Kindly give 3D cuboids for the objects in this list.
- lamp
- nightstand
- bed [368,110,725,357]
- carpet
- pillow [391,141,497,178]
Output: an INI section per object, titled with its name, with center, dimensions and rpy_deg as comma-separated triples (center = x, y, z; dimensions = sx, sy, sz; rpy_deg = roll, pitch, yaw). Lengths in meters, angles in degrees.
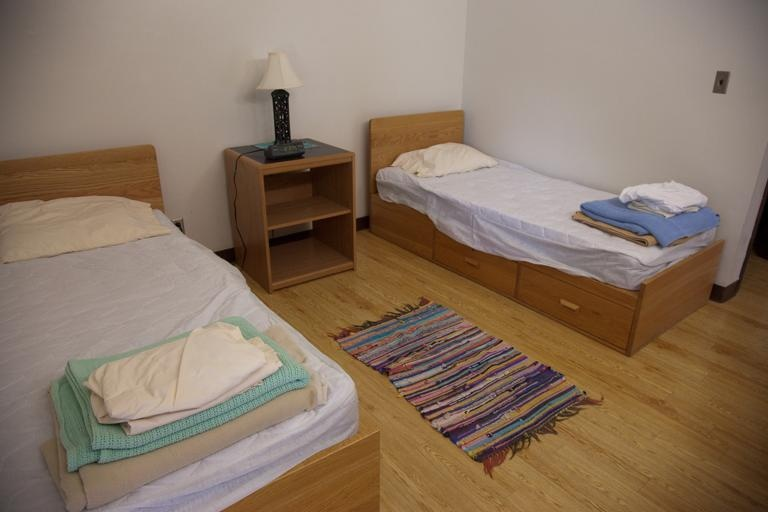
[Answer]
[lamp]
center = -0.752, -1.144, 3.687
dimensions = 0.291, 0.590, 0.411
rpy_deg = -10, 27, -11
[nightstand]
center = -0.700, -0.327, 3.865
dimensions = 0.816, 0.823, 0.664
rpy_deg = -18, 28, -39
[bed]
center = 0.987, -0.302, 4.127
dimensions = 1.421, 1.171, 2.728
rpy_deg = -22, 36, -33
[carpet]
center = 0.422, 0.685, 3.023
dimensions = 0.762, 0.053, 1.231
rpy_deg = -26, 35, -32
[pillow]
center = 0.497, -0.804, 4.312
dimensions = 0.534, 0.119, 0.458
rpy_deg = -8, 24, -21
